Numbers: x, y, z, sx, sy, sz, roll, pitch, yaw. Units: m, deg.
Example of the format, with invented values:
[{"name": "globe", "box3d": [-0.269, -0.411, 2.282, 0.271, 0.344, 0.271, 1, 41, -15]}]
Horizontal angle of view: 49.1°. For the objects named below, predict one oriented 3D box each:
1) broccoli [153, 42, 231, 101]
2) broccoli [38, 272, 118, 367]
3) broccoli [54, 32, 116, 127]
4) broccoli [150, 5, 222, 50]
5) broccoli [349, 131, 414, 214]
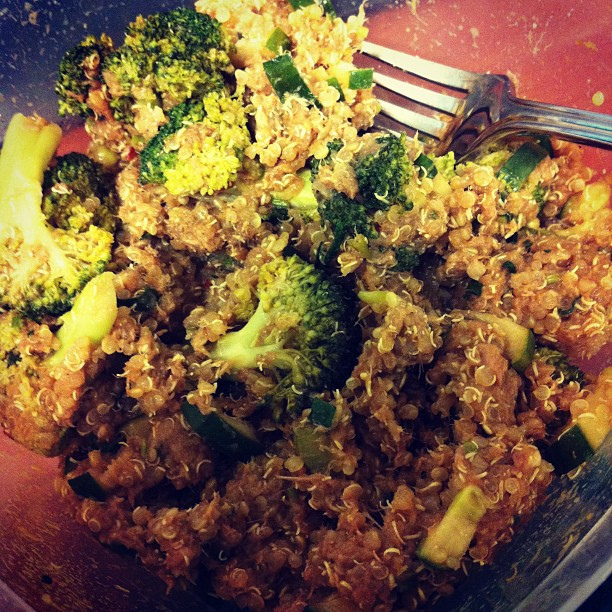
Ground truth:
[{"name": "broccoli", "box3d": [-0.407, -0.840, 2.400, 0.232, 0.201, 0.072, -10, 19, -20]}, {"name": "broccoli", "box3d": [-0.789, 0.052, 2.444, 0.245, 0.348, 0.085, 30, 0, 5]}, {"name": "broccoli", "box3d": [-0.773, -0.842, 2.508, 0.192, 0.244, 0.280, 17, 43, -34]}, {"name": "broccoli", "box3d": [-0.429, -1.002, 2.404, 0.199, 0.097, 0.171, -5, 28, -22]}, {"name": "broccoli", "box3d": [0.275, -0.455, 2.342, 0.255, 0.260, 0.167, 4, 3, -33]}]
